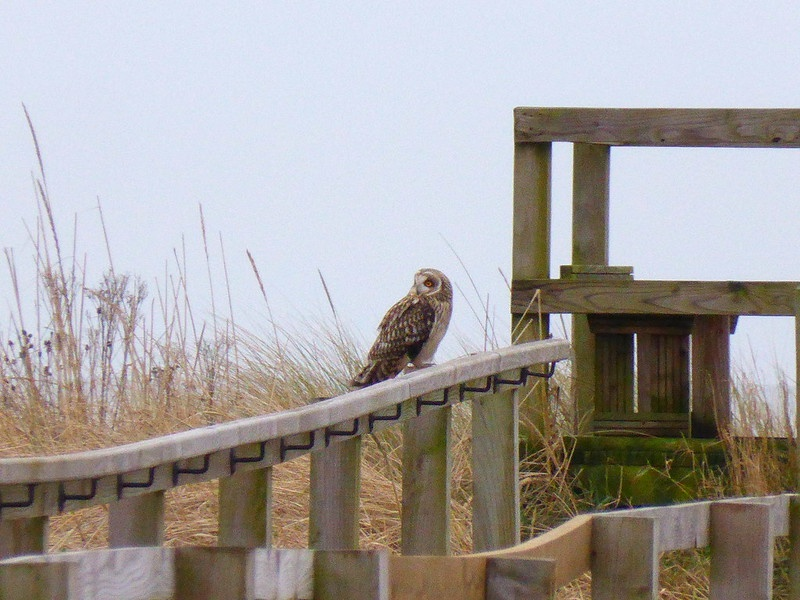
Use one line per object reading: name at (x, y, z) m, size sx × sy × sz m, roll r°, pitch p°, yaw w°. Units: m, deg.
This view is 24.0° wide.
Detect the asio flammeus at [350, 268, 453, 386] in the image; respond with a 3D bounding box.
asio flammeus at (0.009, 0.074, 8.686) m, size 0.452 × 0.672 × 0.315 m, roll -1°, pitch 24°, yaw 7°
